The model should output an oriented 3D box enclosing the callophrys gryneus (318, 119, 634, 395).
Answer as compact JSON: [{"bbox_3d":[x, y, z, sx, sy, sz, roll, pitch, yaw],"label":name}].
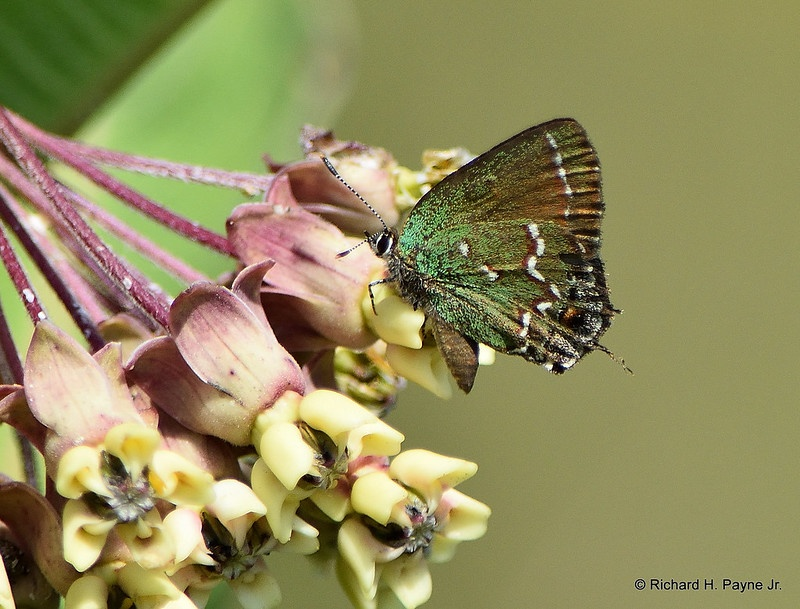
[{"bbox_3d":[0.089,-0.060,1.344,0.335,0.343,0.328,12,-6,-7],"label":"callophrys gryneus"}]
